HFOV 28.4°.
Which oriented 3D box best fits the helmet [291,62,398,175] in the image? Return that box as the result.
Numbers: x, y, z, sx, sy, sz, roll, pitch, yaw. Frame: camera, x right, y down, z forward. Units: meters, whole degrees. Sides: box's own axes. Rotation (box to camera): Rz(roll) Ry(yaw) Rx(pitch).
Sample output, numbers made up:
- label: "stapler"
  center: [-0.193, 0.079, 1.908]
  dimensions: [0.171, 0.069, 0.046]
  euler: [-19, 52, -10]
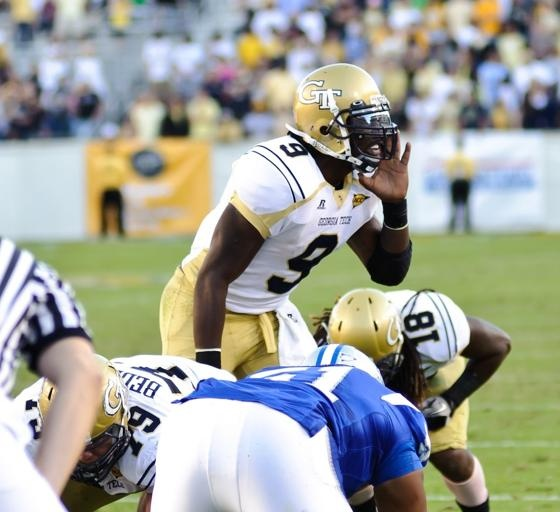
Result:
- label: "helmet"
  center: [0.281, -0.548, 4.485]
  dimensions: [0.415, 0.448, 0.375]
  euler: [-2, 3, 8]

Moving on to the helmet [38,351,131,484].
- label: "helmet"
  center: [-0.596, 0.597, 3.909]
  dimensions: [0.276, 0.428, 0.407]
  euler: [12, -21, 9]

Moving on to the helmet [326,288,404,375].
- label: "helmet"
  center: [0.308, 0.274, 4.032]
  dimensions: [0.205, 0.302, 0.278]
  euler: [-2, -18, 11]

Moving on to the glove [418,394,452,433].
- label: "glove"
  center: [0.650, 0.647, 4.591]
  dimensions: [0.139, 0.158, 0.123]
  euler: [6, 43, 24]
